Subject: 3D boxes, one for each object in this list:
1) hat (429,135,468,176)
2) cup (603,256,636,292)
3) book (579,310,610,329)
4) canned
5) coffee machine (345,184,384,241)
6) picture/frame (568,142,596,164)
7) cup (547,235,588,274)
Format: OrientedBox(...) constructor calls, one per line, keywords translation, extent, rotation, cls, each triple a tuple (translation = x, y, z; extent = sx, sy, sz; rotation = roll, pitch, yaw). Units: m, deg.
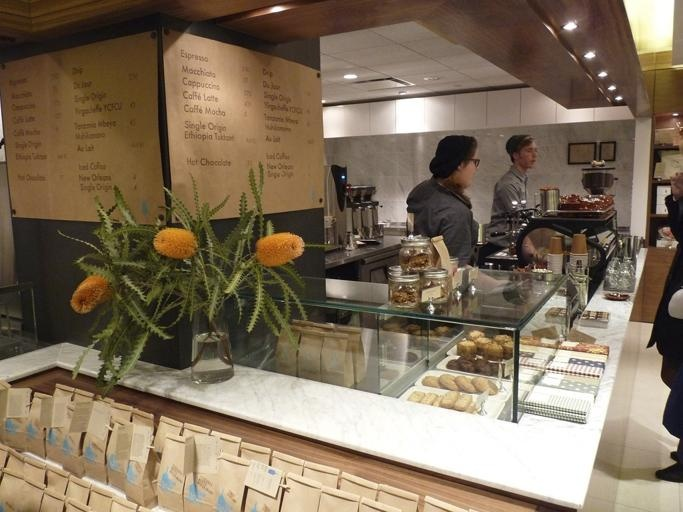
OrientedBox(translation=(0.698, -0.632, 3.144), extent=(0.278, 0.262, 0.144), rotation=(1, 10, 20), cls="hat")
OrientedBox(translation=(1.882, 0.129, 3.317), extent=(0.208, 0.267, 0.141), rotation=(6, 10, 41), cls="cup")
OrientedBox(translation=(1.332, 0.325, 2.580), extent=(0.096, 0.025, 0.104), rotation=(8, 20, 36), cls="book")
OrientedBox(translation=(0.283, 0.056, 1.740), extent=(0.186, 0.177, 0.289), rotation=(1, 6, 5), cls="canned")
OrientedBox(translation=(0.260, -0.466, 5.508), extent=(0.328, 0.629, 0.758), rotation=(0, 9, 14), cls="coffee machine")
OrientedBox(translation=(3.149, -1.334, 6.420), extent=(0.342, 0.300, 0.090), rotation=(0, 9, 17), cls="picture/frame")
OrientedBox(translation=(1.404, -0.013, 3.018), extent=(0.216, 0.244, 0.227), rotation=(-2, 9, 0), cls="cup")
